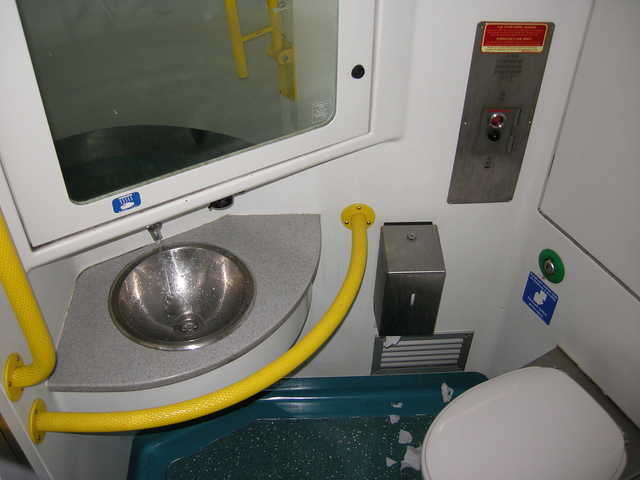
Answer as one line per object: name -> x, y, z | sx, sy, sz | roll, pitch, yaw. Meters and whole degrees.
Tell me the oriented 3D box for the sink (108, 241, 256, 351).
sink -> -0.413, 0.205, 1.549 | 0.433, 0.187, 0.387 | -11, 39, -13
